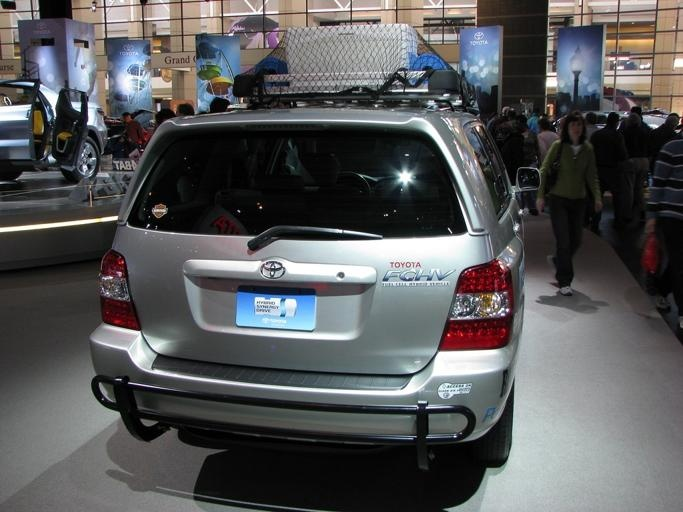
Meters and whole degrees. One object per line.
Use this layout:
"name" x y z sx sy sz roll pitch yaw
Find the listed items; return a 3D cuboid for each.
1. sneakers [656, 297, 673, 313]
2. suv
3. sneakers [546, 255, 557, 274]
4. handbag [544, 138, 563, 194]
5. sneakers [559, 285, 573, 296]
"sneakers" 3.751 0.567 5.628 0.153 0.163 0.167 2 4 8
"suv" 0.076 -0.199 2.983 1.327 1.129 2.397 1 15 13
"sneakers" 3.005 0.125 6.874 0.100 0.272 0.176 -9 1 -28
"handbag" 2.722 -1.133 6.152 0.206 0.654 0.261 6 12 30
"sneakers" 2.851 0.444 6.094 0.091 0.087 0.189 -1 1 16
